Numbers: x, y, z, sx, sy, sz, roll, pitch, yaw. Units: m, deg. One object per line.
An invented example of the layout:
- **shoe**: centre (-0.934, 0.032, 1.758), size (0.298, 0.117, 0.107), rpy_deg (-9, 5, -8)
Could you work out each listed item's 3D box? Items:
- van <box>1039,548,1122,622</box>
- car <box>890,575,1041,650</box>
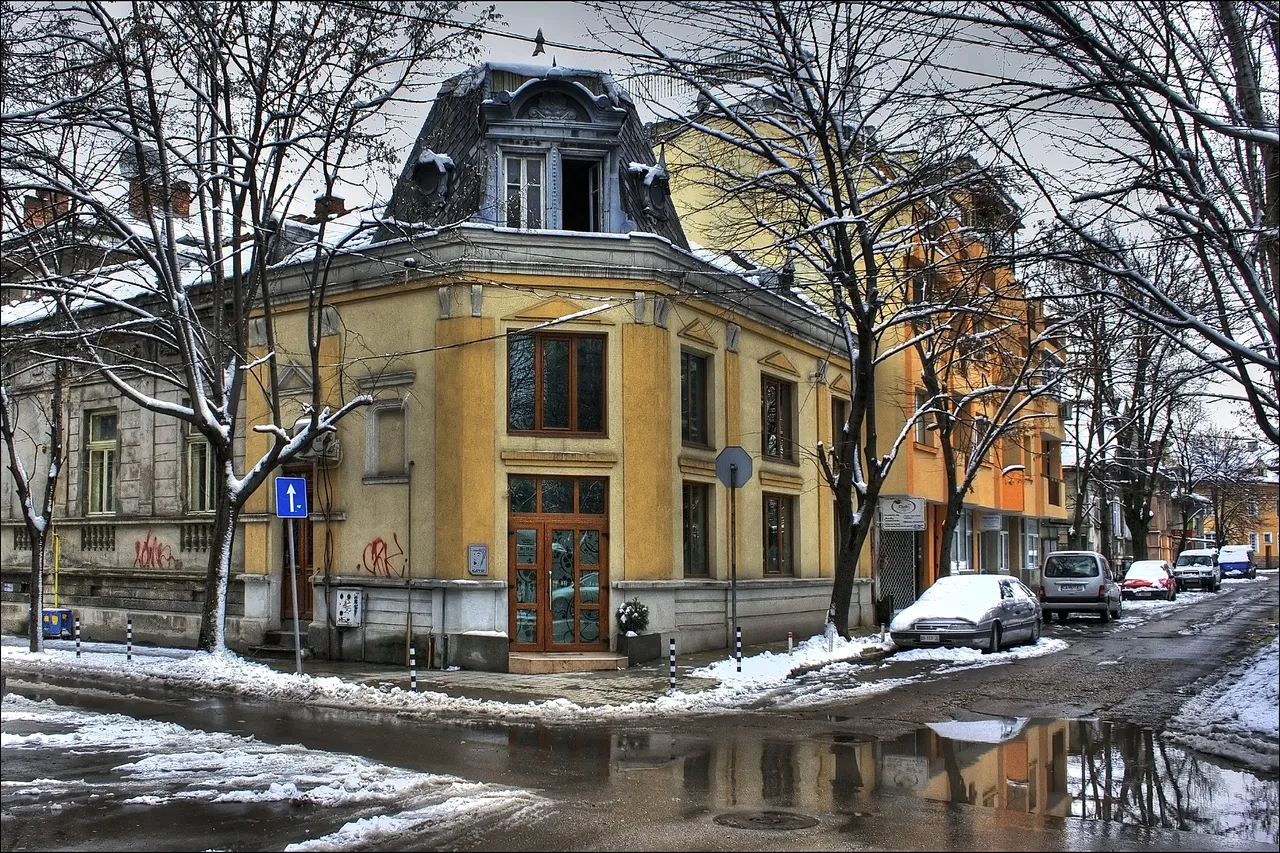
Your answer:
- **van**: centre (13.594, 4.909, 47.902), size (1.623, 1.514, 3.048), rpy_deg (-2, -3, 22)
- **car**: centre (7.752, 4.451, 36.539), size (3.699, 1.692, 2.087), rpy_deg (-2, 4, -41)
